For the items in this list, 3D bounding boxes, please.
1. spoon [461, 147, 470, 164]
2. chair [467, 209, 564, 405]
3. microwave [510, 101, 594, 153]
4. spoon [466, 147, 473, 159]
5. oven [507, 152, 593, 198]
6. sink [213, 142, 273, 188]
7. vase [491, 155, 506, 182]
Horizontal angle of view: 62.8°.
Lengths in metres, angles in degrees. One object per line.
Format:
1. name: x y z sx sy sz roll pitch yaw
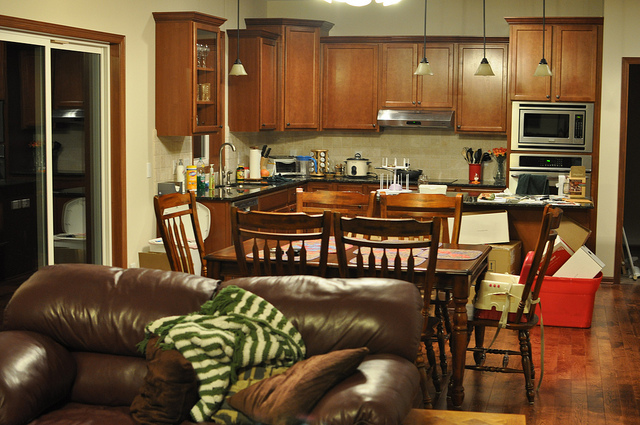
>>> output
1. spoon: 2.145 -0.853 7.738 0.039 0.219 0.051 19 -44 -35
2. chair: 1.423 0.687 3.991 0.629 1.307 0.600 4 -1 21
3. microwave: 3.215 -1.119 6.898 0.626 0.733 1.143 -11 14 -32
4. spoon: 2.200 -0.887 7.710 0.055 0.212 0.056 34 -31 -33
5. oven: 3.067 -0.367 6.970 0.981 0.920 0.669 4 13 28
6. sink: -1.023 -0.636 6.915 0.673 0.481 0.677 -1 4 -1
7. vase: 2.588 -0.628 7.614 0.172 0.371 0.229 1 9 13
